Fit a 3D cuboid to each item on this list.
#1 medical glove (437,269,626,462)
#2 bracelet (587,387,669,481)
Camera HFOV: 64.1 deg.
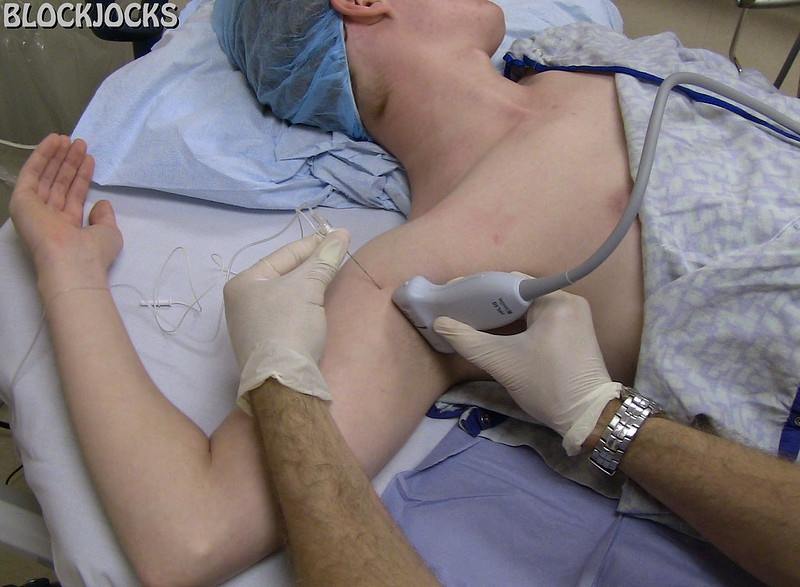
[{"bbox_3d":[0.286,0.140,1.587,0.279,0.172,0.475,-37,75,-18],"label":"medical glove"},{"bbox_3d":[0.482,0.296,1.392,0.110,0.196,0.199,36,79,24],"label":"bracelet"}]
